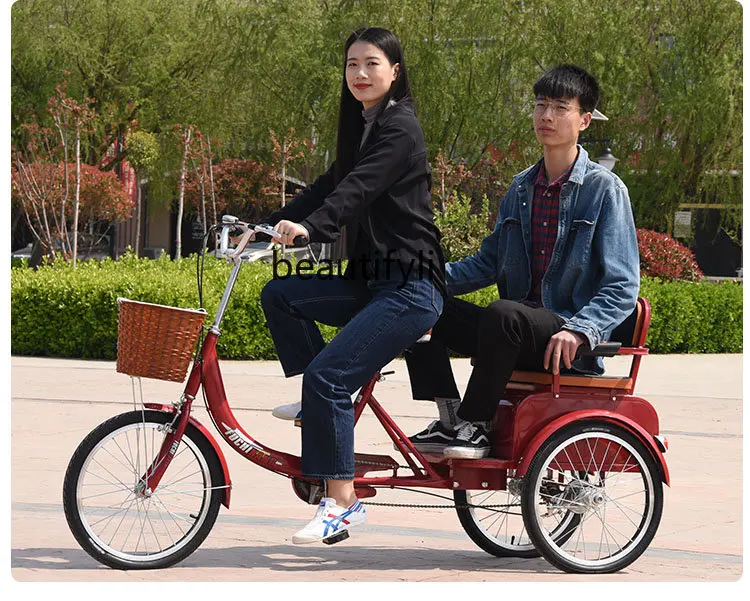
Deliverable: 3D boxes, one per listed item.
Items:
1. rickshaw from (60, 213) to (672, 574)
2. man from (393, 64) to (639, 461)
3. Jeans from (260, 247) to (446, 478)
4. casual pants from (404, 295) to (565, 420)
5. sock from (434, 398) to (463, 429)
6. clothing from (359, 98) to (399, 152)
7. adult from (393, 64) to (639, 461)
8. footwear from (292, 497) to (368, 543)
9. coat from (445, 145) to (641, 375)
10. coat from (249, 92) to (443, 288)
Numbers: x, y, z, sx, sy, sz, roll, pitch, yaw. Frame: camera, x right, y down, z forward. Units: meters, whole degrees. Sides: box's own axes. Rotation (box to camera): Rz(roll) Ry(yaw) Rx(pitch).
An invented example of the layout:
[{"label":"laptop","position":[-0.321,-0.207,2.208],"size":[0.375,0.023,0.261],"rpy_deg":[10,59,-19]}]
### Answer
[{"label":"rickshaw","position":[0.143,0.785,6.444],"size":[3.955,2.165,1.558],"rpy_deg":[2,-5,-4]},{"label":"man","position":[0.837,-0.235,5.959],"size":[1.369,2.189,1.324],"rpy_deg":[7,3,17]},{"label":"Jeans","position":[-0.106,0.231,5.835],"size":[0.894,1.227,1.020],"rpy_deg":[-1,13,-21]},{"label":"casual pants","position":[0.686,0.312,6.084],"size":[1.045,0.636,1.027],"rpy_deg":[3,2,-45]},{"label":"sock","position":[0.429,0.650,5.948],"size":[0.156,0.225,0.167],"rpy_deg":[0,-2,-21]},{"label":"clothing","position":[0.018,-0.970,5.629],"size":[0.186,0.247,0.196],"rpy_deg":[18,12,-13]},{"label":"adult","position":[0.809,-0.234,5.957],"size":[1.395,2.235,1.368],"rpy_deg":[7,1,10]},{"label":"footwear","position":[-0.216,1.164,5.518],"size":[0.504,0.234,0.165],"rpy_deg":[-8,6,-39]},{"label":"coat","position":[0.923,-0.326,6.049],"size":[0.747,1.146,1.397],"rpy_deg":[-6,15,-38]},{"label":"coat","position":[-0.254,-0.608,5.902],"size":[1.027,1.130,0.867],"rpy_deg":[3,0,-16]}]
